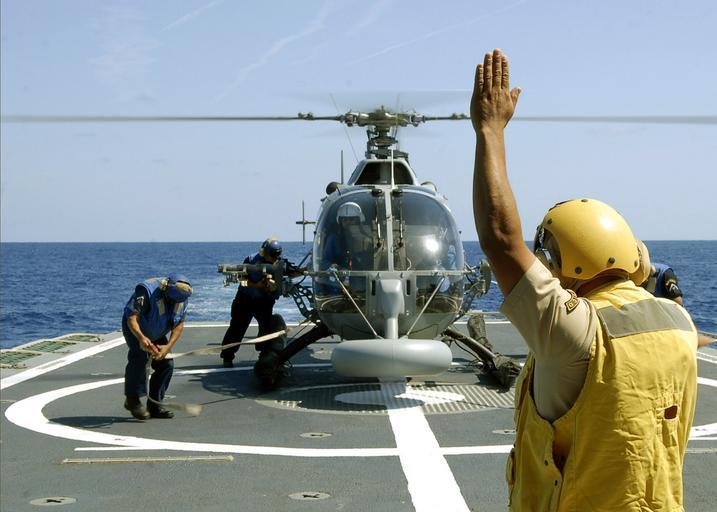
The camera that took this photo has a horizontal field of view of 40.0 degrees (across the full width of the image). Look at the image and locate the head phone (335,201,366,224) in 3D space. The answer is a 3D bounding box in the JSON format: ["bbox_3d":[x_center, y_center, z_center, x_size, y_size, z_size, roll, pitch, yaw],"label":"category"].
[{"bbox_3d":[-0.124,-0.573,13.047,0.304,0.255,0.343,-4,-15,7],"label":"head phone"}]

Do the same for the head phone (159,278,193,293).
[{"bbox_3d":[-2.136,0.320,11.414,0.218,0.097,0.279,5,1,-43],"label":"head phone"}]

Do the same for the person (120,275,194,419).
[{"bbox_3d":[-2.409,1.063,11.707,0.786,1.729,0.765,-1,6,-13],"label":"person"}]

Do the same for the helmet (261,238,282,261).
[{"bbox_3d":[-1.233,-0.090,13.773,0.315,0.250,0.222,14,27,17],"label":"helmet"}]

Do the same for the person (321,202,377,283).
[{"bbox_3d":[-0.119,-0.239,13.293,0.862,0.997,1.073,0,3,-1],"label":"person"}]

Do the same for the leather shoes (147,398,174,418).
[{"bbox_3d":[-2.312,1.838,11.768,0.450,0.248,0.148,3,9,-4],"label":"leather shoes"}]
